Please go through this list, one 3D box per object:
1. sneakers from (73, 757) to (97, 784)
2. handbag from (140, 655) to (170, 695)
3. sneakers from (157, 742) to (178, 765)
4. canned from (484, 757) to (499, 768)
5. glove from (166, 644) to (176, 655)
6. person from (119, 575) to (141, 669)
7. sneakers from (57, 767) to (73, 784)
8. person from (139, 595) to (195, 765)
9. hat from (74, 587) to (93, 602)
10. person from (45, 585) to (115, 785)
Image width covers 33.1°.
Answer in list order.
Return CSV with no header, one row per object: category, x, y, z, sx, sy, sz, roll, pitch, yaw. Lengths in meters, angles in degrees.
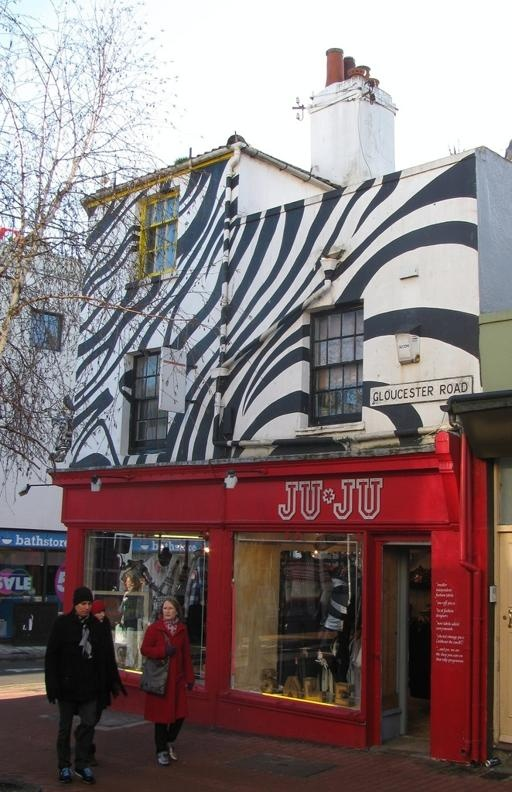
sneakers,-1.520,3.335,7.745,0.148,0.196,0.446,8,-10,-25
handbag,-0.991,2.693,8.277,0.317,0.349,0.185,-5,-5,25
sneakers,-0.882,3.520,8.483,0.143,0.199,0.444,2,-23,-10
canned,2.234,3.488,8.208,0.198,0.052,0.112,2,-7,-43
glove,-0.813,2.448,8.290,0.079,0.088,0.066,-8,-13,35
person,-1.875,3.275,13.119,0.406,1.652,0.363,5,-10,-17
sneakers,-1.672,3.340,7.587,0.073,0.091,0.205,5,-20,-16
person,-0.871,2.833,8.473,0.480,1.592,0.661,-2,-5,-8
hat,-1.623,1.863,8.108,0.121,0.144,0.174,1,-2,2
person,-1.635,2.577,7.892,0.449,1.580,0.563,-3,-5,7
